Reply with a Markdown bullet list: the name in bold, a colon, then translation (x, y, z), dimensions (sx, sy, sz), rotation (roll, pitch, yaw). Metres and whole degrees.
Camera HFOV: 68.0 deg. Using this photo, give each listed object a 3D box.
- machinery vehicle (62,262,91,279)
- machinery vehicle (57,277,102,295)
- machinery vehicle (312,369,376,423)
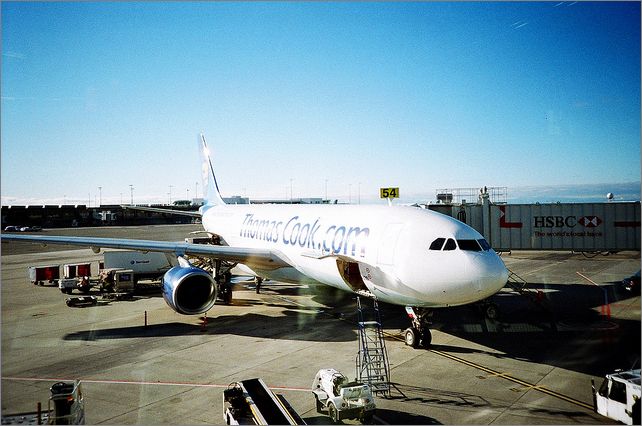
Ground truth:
- **machinery vehicle**: translation (-19.192, 4.526, 37.227), dimensions (1.216, 1.175, 2.089), rotation (1, 1, 38)
- **machinery vehicle**: translation (-18.267, 5.377, 35.230), dimensions (2.801, 1.080, 1.688), rotation (-2, 0, 4)
- **machinery vehicle**: translation (0.719, 6.956, 18.345), dimensions (1.522, 1.098, 2.431), rotation (4, -1, -27)
